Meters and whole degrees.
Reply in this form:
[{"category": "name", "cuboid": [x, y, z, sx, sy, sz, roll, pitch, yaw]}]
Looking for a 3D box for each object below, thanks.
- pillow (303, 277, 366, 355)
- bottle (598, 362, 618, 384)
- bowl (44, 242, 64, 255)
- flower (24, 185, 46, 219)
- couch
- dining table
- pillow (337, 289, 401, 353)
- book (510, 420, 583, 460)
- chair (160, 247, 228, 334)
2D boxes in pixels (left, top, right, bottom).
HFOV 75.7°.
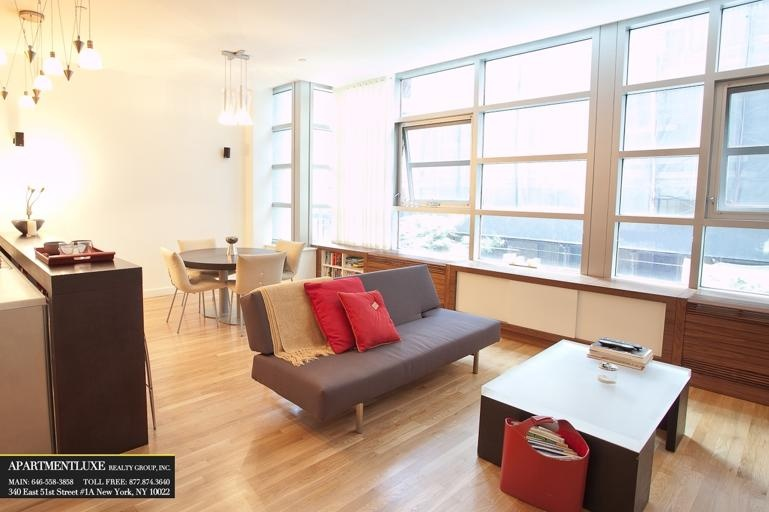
[{"category": "pillow", "cuboid": [-0.481, 0.547, 4.676, 0.690, 0.592, 0.199, -11, -17, -36]}, {"category": "bottle", "cuboid": [1.888, 0.980, 4.204, 0.149, 0.158, 0.154, 11, 17, 41]}, {"category": "bowl", "cuboid": [-2.853, -0.061, 4.253, 0.136, 0.066, 0.132, 2, -1, 0]}, {"category": "flower", "cuboid": [-4.721, -0.726, 6.698, 0.251, 0.429, 0.189, -8, 12, -40]}, {"category": "couch", "cuboid": [-0.106, 0.831, 4.890, 2.211, 1.217, 1.025, -7, 11, -41]}, {"category": "dining table", "cuboid": [-2.170, 0.289, 6.466, 1.163, 0.771, 1.124, -5, 13, -39]}, {"category": "pillow", "cuboid": [-0.219, 0.635, 4.739, 0.173, 0.520, 0.588, -37, -17, 34]}, {"category": "book", "cuboid": [1.229, 1.346, 3.675, 0.302, 0.102, 0.235, 6, 3, 21]}, {"category": "chair", "cuboid": [-2.642, 0.359, 6.755, 0.706, 1.027, 1.444, -4, 9, -24]}]
